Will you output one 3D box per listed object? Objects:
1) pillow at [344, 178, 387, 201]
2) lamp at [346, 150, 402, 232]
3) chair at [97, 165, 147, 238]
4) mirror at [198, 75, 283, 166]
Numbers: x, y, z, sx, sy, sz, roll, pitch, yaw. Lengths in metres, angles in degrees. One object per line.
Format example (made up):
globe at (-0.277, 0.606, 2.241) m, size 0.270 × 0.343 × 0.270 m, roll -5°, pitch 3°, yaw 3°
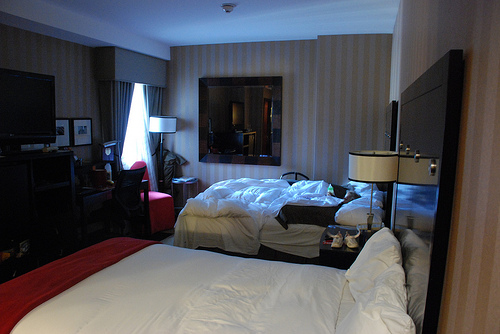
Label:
pillow at (1.525, 0.316, 4.675) m, size 0.449 × 0.130 × 0.354 m, roll 2°, pitch 19°, yaw 17°
lamp at (1.119, 0.229, 3.242) m, size 0.408 × 0.740 × 0.379 m, roll 1°, pitch 6°, yaw 19°
chair at (-1.796, 0.551, 5.127) m, size 0.565 × 1.081 × 0.616 m, roll -4°, pitch 7°, yaw -32°
mirror at (-0.112, -0.864, 6.238) m, size 1.507 × 1.632 × 0.071 m, roll 1°, pitch 6°, yaw 18°
